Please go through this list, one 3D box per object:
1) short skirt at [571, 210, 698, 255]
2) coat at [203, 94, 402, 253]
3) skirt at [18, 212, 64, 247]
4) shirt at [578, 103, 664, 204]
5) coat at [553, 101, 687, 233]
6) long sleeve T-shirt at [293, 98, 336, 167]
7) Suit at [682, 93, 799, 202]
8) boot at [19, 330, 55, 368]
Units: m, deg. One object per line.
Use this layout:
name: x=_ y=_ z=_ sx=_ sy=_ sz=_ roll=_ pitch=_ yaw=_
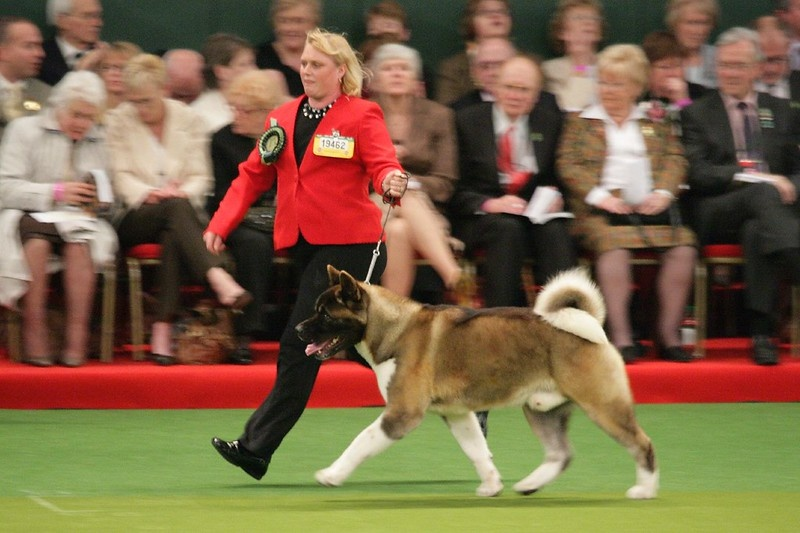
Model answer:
short skirt: x=1.720 y=-0.252 z=7.327 sx=0.868 sy=0.315 sz=0.259 roll=0 pitch=3 yaw=9
coat: x=-0.463 y=-0.536 z=5.751 sx=1.436 sy=0.820 sz=0.789 roll=5 pitch=13 yaw=38
skirt: x=-2.541 y=-0.256 z=7.026 sx=0.292 sy=0.088 sz=0.247 roll=2 pitch=9 yaw=-19
shirt: x=1.632 y=-0.818 z=7.457 sx=1.001 sy=0.738 sz=0.418 roll=-4 pitch=6 yaw=-12
coat: x=1.697 y=-0.825 z=7.617 sx=1.076 sy=0.747 sz=0.517 roll=-7 pitch=16 yaw=-21
long sleeve T-shirt: x=-0.523 y=-0.751 z=5.619 sx=0.233 sy=0.339 sz=0.099 roll=1 pitch=-22 yaw=47
Suit: x=2.598 y=-0.902 z=7.690 sx=1.252 sy=0.860 sz=0.599 roll=-1 pitch=-2 yaw=-6
boot: x=-2.575 y=0.543 z=7.054 sx=0.189 sy=0.320 sz=0.111 roll=-1 pitch=3 yaw=-19
